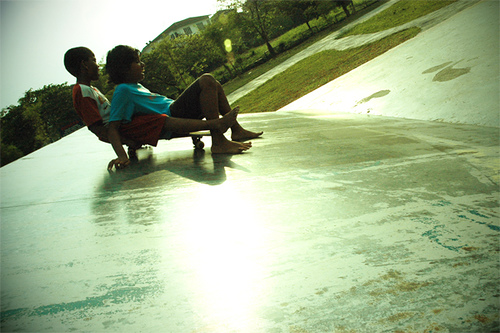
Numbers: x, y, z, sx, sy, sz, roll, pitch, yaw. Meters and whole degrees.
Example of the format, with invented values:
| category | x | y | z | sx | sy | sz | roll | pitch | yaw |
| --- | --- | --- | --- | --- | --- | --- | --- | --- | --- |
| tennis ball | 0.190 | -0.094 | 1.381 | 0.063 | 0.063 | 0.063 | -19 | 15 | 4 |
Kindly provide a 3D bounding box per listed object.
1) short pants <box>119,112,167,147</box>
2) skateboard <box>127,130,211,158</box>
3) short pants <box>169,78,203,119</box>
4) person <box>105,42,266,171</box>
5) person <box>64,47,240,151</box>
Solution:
| category | x | y | z | sx | sy | sz | roll | pitch | yaw |
| --- | --- | --- | --- | --- | --- | --- | --- | --- | --- |
| short pants | -0.872 | -0.314 | 3.242 | 0.361 | 0.305 | 0.143 | 6 | 14 | 9 |
| skateboard | -0.711 | -0.195 | 3.469 | 0.655 | 0.108 | 0.318 | -5 | 22 | -1 |
| short pants | -0.549 | -0.547 | 3.361 | 0.320 | 0.327 | 0.273 | -18 | 15 | -4 |
| person | -0.613 | -0.608 | 3.477 | 1.419 | 0.859 | 0.888 | -4 | 16 | 0 |
| person | -0.900 | -0.633 | 3.602 | 1.538 | 0.757 | 0.864 | 1 | 16 | -20 |
